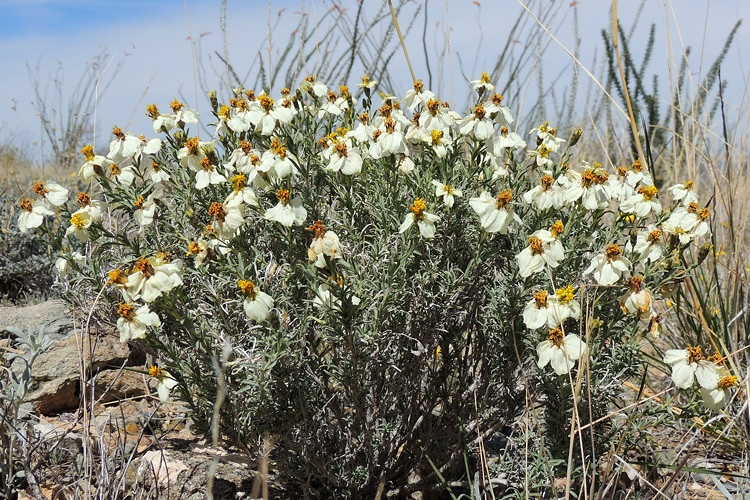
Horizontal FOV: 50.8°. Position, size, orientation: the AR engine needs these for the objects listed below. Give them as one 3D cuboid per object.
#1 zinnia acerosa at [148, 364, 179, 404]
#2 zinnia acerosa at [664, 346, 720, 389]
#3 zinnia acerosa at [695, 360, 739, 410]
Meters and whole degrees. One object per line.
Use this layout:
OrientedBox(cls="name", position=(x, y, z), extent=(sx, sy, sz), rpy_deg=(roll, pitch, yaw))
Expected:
OrientedBox(cls="zinnia acerosa", position=(-1.214, 0.758, 4.541), extent=(0.159, 0.236, 0.436), rpy_deg=(-2, 2, -16))
OrientedBox(cls="zinnia acerosa", position=(1.764, 0.654, 4.397), extent=(0.295, 0.244, 0.183), rpy_deg=(-1, 2, 13))
OrientedBox(cls="zinnia acerosa", position=(1.915, 0.747, 4.381), extent=(0.204, 0.233, 0.156), rpy_deg=(-8, -7, -33))
